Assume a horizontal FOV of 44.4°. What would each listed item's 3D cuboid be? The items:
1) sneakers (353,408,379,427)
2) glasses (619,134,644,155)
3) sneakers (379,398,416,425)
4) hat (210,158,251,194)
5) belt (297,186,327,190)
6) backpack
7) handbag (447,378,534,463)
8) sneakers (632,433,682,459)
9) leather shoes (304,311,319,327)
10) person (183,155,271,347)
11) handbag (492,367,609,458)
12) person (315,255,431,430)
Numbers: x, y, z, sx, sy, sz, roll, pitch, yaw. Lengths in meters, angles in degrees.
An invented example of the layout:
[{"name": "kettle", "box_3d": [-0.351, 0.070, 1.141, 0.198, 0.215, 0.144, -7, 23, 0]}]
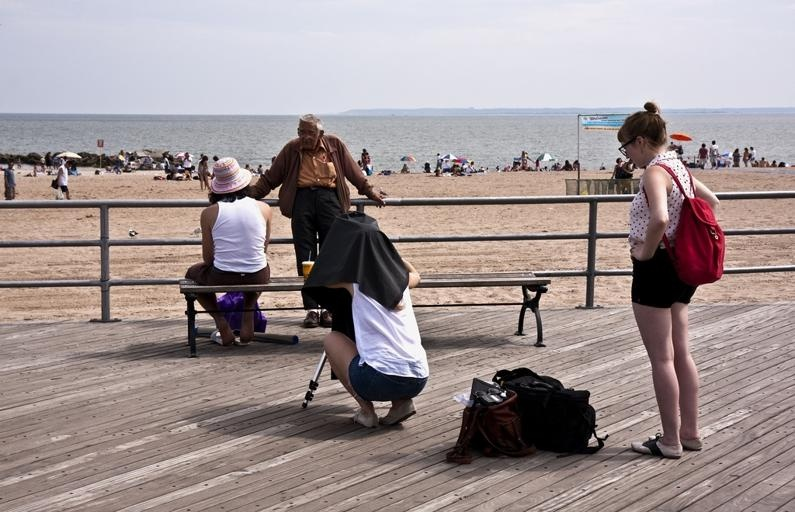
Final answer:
[{"name": "sneakers", "box_3d": [-0.266, 1.313, 7.927, 0.105, 0.089, 0.231, -6, 11, -34]}, {"name": "glasses", "box_3d": [1.756, -0.828, 7.389, 0.138, 0.040, 0.127, -27, -22, -37]}, {"name": "sneakers", "box_3d": [0.016, 1.261, 7.840, 0.384, 0.158, 0.143, -25, -7, 39]}, {"name": "hat", "box_3d": [-1.599, -0.749, 9.233, 0.376, 0.331, 0.423, -3, 7, -9]}, {"name": "belt", "box_3d": [-0.875, -0.694, 10.021, 0.296, 0.034, 0.046, -2, 7, -5]}, {"name": "backpack", "box_3d": [2.195, -0.090, 7.198, 0.447, 0.664, 0.199, -2, 8, 1]}, {"name": "handbag", "box_3d": [0.676, 1.281, 7.651, 0.631, 0.562, 0.564, -4, 0, -5]}, {"name": "sneakers", "box_3d": [1.994, 1.465, 7.480, 0.300, 0.103, 0.179, 6, -8, 22]}, {"name": "leather shoes", "box_3d": [-0.897, 0.658, 10.101, 0.166, 0.146, 0.378, 1, -3, -2]}, {"name": "person", "box_3d": [-1.623, -0.017, 9.316, 0.817, 1.803, 0.475, -3, 8, -7]}, {"name": "handbag", "box_3d": [1.169, 1.182, 7.735, 1.079, 0.677, 0.571, 1, 6, 38]}, {"name": "person", "box_3d": [-0.178, 0.720, 7.788, 0.822, 1.335, 0.482, -1, 8, 5]}]
